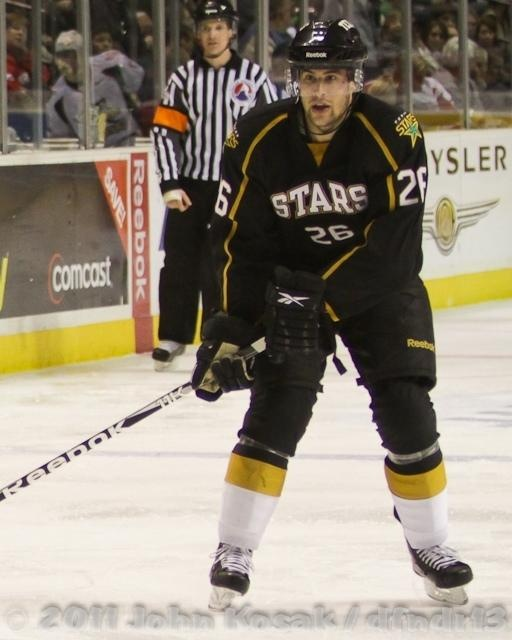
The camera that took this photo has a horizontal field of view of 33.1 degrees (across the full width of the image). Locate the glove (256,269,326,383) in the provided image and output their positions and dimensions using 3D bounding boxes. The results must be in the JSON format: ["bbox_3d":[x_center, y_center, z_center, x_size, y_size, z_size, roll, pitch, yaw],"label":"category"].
[{"bbox_3d":[0.079,-0.004,1.787,0.129,0.214,0.087,0,8,0],"label":"glove"}]

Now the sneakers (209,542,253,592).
[{"bbox_3d":[-0.049,0.499,1.723,0.055,0.049,0.133,14,14,-7],"label":"sneakers"}]

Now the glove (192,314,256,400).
[{"bbox_3d":[-0.072,0.082,1.848,0.152,0.166,0.078,1,-6,9],"label":"glove"}]

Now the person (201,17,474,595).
[{"bbox_3d":[0.162,-0.026,1.818,0.587,1.239,0.387,-1,9,-5],"label":"person"}]

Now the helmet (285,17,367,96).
[{"bbox_3d":[0.151,-0.565,1.865,0.156,0.141,0.179,-1,7,10],"label":"helmet"}]
